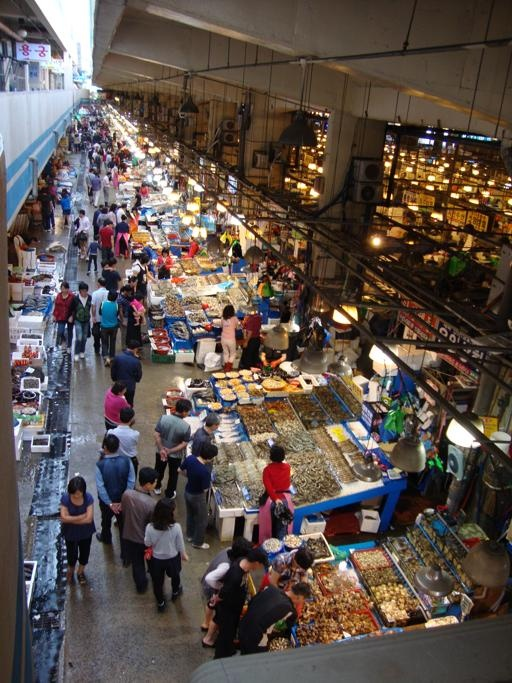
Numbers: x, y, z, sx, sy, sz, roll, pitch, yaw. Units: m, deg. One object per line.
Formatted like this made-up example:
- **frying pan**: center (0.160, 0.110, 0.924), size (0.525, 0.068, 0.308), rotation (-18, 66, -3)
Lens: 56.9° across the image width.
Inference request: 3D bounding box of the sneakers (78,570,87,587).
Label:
- **sneakers**: center (-1.912, 2.612, 5.212), size (0.066, 0.077, 0.185), rotation (-2, 17, -21)

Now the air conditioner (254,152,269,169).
- **air conditioner**: center (0.169, -5.254, 13.779), size (0.576, 0.413, 0.326), rotation (14, 20, 20)

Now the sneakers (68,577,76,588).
- **sneakers**: center (-2.032, 2.630, 5.184), size (0.045, 0.055, 0.137), rotation (1, 27, -16)

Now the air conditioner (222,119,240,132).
- **air conditioner**: center (-0.900, -7.781, 16.919), size (0.514, 0.423, 0.397), rotation (8, 19, 3)

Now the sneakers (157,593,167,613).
- **sneakers**: center (-1.002, 2.810, 5.044), size (0.067, 0.191, 0.077), rotation (-4, -11, -23)

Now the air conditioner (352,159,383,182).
- **air conditioner**: center (2.059, -3.130, 8.593), size (0.364, 0.323, 0.202), rotation (-5, 28, -13)

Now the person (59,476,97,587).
- **person**: center (-1.879, 1.997, 4.974), size (0.326, 1.447, 0.411), rotation (-4, 21, -28)

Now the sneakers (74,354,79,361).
- **sneakers**: center (-3.701, 0.329, 9.723), size (0.101, 0.147, 0.231), rotation (-3, 21, -27)

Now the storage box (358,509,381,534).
- **storage box**: center (1.563, 2.505, 6.602), size (0.299, 0.301, 0.301), rotation (-1, 25, -6)

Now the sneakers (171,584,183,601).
- **sneakers**: center (-0.870, 2.783, 5.189), size (0.083, 0.127, 0.187), rotation (9, 36, 9)

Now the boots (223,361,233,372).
- **boots**: center (-0.569, 0.527, 9.731), size (0.119, 0.217, 0.221), rotation (4, 59, -1)

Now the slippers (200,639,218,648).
- **slippers**: center (-0.469, 3.033, 4.732), size (0.156, 0.063, 0.055), rotation (-2, 10, 5)

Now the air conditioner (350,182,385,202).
- **air conditioner**: center (2.071, -2.742, 8.675), size (0.510, 0.378, 0.303), rotation (-3, 23, -11)

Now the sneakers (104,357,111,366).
- **sneakers**: center (-3.036, 0.412, 9.623), size (0.072, 0.220, 0.152), rotation (-1, 9, -15)

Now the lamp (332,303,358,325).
- **lamp**: center (1.006, -0.312, 5.293), size (0.304, 0.301, 0.310), rotation (0, 9, -4)

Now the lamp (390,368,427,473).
- **lamp**: center (1.469, 0.871, 4.437), size (0.318, 0.639, 0.281), rotation (3, 20, 20)

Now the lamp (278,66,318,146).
- **lamp**: center (0.559, -2.922, 5.734), size (0.390, 0.902, 0.374), rotation (-22, 39, -38)
